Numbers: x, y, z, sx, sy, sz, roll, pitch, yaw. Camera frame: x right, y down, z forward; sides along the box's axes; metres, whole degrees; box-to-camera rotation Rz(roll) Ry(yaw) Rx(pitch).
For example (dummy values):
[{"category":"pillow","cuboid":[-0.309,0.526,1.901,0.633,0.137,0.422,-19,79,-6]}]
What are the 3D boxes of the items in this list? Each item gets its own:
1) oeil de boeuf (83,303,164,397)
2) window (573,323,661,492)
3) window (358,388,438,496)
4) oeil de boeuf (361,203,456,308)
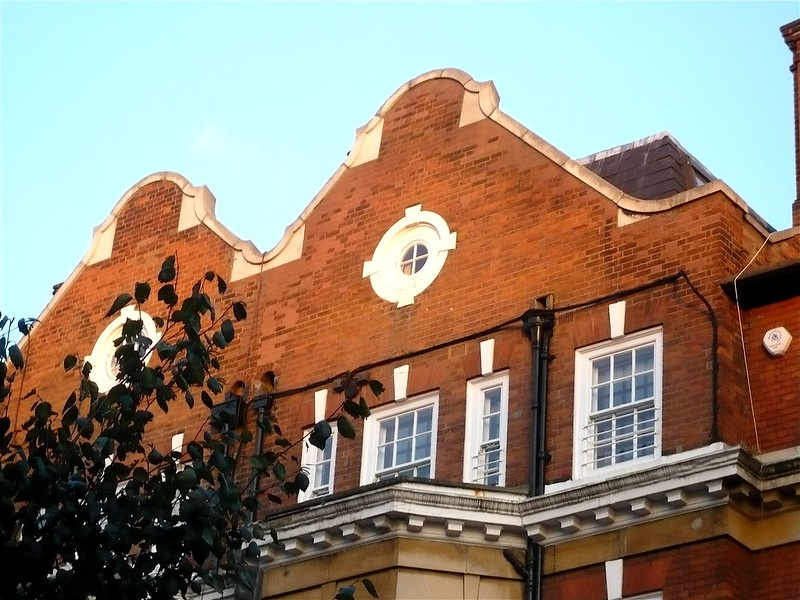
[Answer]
[{"category":"oeil de boeuf","cuboid":[-4.403,0.823,28.505,1.332,1.627,0.162,19,-23,24]},{"category":"window","cuboid":[3.412,1.758,27.544,1.732,2.585,0.257,-24,-45,27]},{"category":"window","cuboid":[0.016,2.357,28.914,1.512,2.244,0.163,-14,-38,27]},{"category":"oeil de boeuf","cuboid":[0.211,-0.724,30.793,1.847,1.994,0.109,-17,-31,36]}]
